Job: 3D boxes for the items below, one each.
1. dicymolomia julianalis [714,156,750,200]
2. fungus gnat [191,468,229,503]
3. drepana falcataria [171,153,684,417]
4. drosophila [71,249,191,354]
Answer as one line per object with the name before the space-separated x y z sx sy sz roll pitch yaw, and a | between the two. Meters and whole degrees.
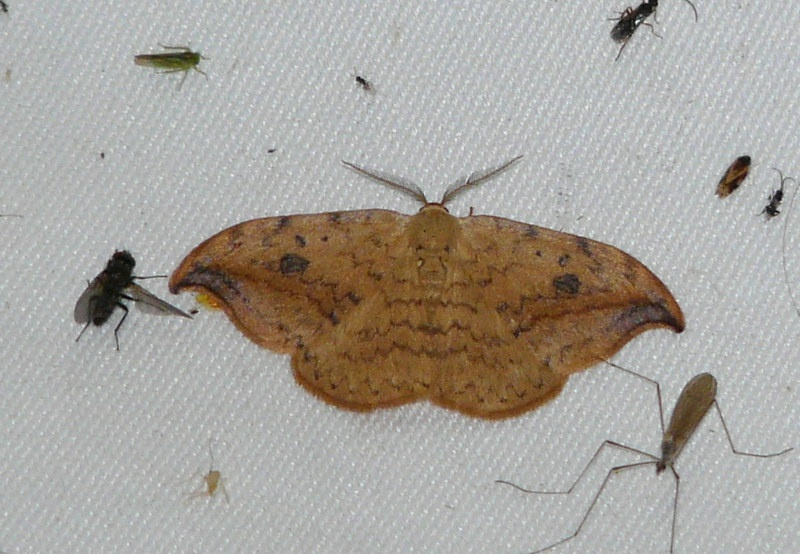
dicymolomia julianalis | 1.527 -0.458 6.272 0.096 0.087 0.233 27 99 22
fungus gnat | -0.864 0.967 6.319 0.113 0.042 0.159 3 90 -1
drepana falcataria | 0.121 0.146 6.048 2.018 0.269 0.912 3 83 2
drosophila | -1.376 0.087 6.340 0.467 0.498 0.160 -44 100 -15
